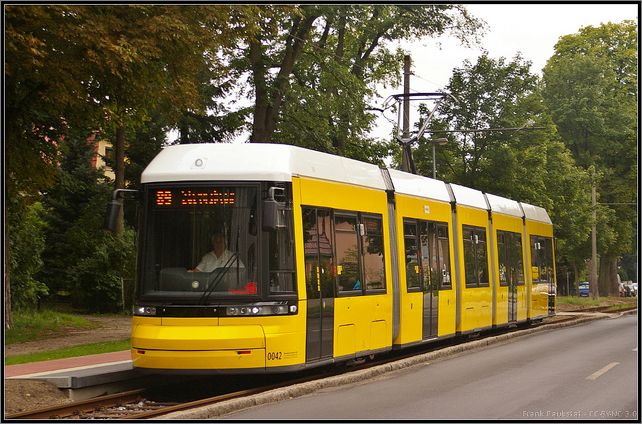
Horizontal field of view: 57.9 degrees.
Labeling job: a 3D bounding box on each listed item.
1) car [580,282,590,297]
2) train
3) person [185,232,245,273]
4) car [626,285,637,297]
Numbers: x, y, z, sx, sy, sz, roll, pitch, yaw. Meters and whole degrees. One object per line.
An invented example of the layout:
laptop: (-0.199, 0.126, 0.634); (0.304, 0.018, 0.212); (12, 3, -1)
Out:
car: (35.207, 10.537, 77.891); (1.813, 1.603, 3.218); (1, 1, 26)
train: (3.244, 1.789, 19.044); (4.559, 4.768, 20.140); (-5, -9, 30)
person: (-1.993, 0.862, 11.089); (1.169, 0.823, 0.600); (-3, -7, 14)
car: (36.998, 9.493, 69.589); (1.469, 1.214, 2.486); (-7, -17, 31)
